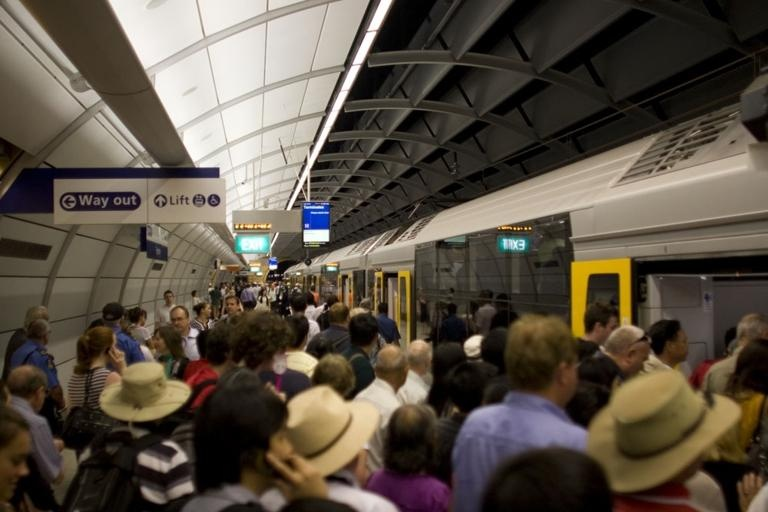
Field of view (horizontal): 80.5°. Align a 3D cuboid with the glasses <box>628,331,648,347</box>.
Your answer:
[{"bbox_3d":[2.546,0.809,4.511,0.102,0.106,0.099,14,4,-20],"label":"glasses"}]

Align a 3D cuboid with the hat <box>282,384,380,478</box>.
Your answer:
[{"bbox_3d":[-0.333,1.135,2.885,0.591,0.197,0.514,-28,29,21],"label":"hat"}]

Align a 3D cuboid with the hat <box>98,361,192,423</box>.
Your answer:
[{"bbox_3d":[-1.951,1.125,3.661,0.550,0.188,0.585,11,22,16],"label":"hat"}]

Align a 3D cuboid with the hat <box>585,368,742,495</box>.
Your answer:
[{"bbox_3d":[1.554,0.953,2.556,0.788,0.261,0.685,-43,22,-24],"label":"hat"}]
